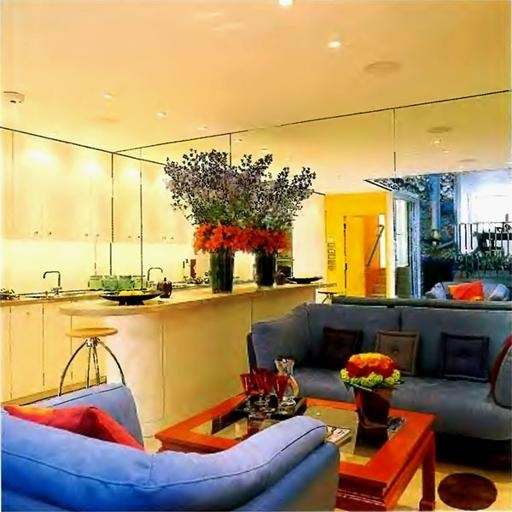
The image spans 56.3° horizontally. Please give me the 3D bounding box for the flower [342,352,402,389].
[{"bbox_3d":[0.563,0.567,2.340,0.273,0.181,0.134,10,2,14],"label":"flower"}]

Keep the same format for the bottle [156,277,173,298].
[{"bbox_3d":[-0.752,0.263,3.946,0.169,0.231,0.151,0,-3,-9],"label":"bottle"}]

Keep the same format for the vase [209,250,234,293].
[{"bbox_3d":[-0.295,0.148,4.313,0.243,0.395,0.251,-7,-10,39],"label":"vase"}]

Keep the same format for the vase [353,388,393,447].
[{"bbox_3d":[0.555,0.760,2.273,0.215,0.278,0.207,-1,-11,10],"label":"vase"}]

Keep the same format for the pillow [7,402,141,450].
[{"bbox_3d":[-0.518,0.469,1.371,0.245,0.077,0.221,15,-13,11],"label":"pillow"}]

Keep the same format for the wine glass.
[{"bbox_3d":[0.092,0.677,2.597,0.354,0.320,0.298,-2,-8,11],"label":"wine glass"}]

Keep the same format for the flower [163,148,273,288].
[{"bbox_3d":[-0.414,-0.427,4.709,0.929,1.201,1.208,9,2,-1],"label":"flower"}]
